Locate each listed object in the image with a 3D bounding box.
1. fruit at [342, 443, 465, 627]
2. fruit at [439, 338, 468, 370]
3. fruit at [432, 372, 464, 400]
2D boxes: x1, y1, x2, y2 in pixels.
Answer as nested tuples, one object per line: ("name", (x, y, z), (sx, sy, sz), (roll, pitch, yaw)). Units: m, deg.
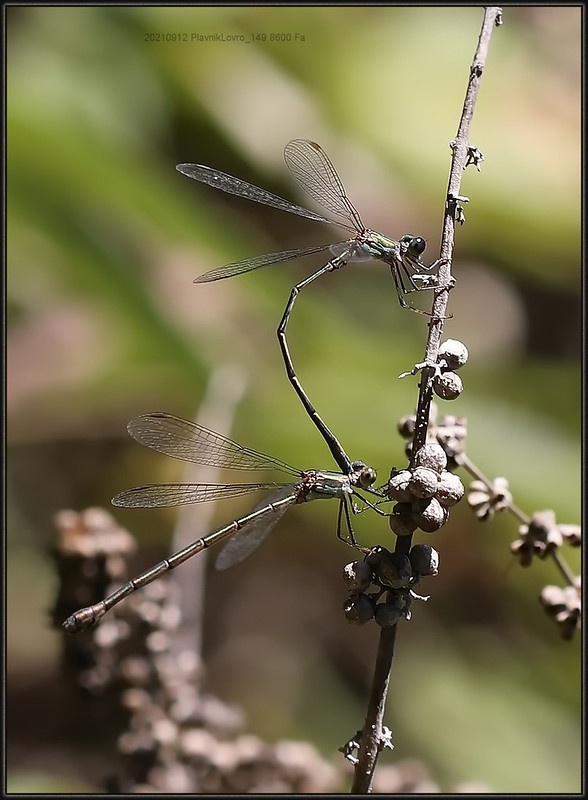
("fruit", (0.235, 0.304, 1.753), (0.164, 0.390, 0.295), (29, -24, 8))
("fruit", (0.356, -0.105, 1.826), (0.077, 0.054, 0.064), (-5, -68, -30))
("fruit", (0.331, -0.034, 1.794), (0.062, 0.041, 0.064), (5, -25, -30))
